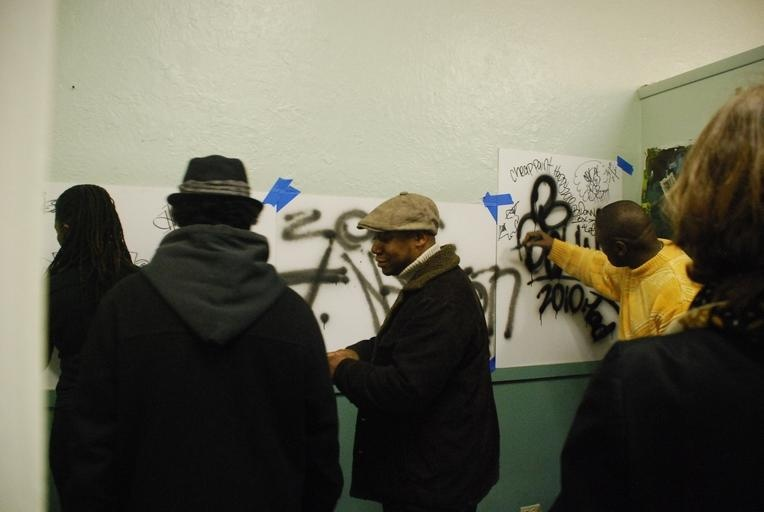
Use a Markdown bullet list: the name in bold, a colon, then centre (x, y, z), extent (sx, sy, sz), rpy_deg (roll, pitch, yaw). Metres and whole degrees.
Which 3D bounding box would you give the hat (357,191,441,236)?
- **hat**: centre (0.100, -0.200, 2.903), extent (0.293, 0.131, 0.219), rpy_deg (3, 3, -7)

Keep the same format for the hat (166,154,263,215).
- **hat**: centre (-0.689, -0.289, 2.464), extent (0.272, 0.152, 0.205), rpy_deg (8, -2, -11)
